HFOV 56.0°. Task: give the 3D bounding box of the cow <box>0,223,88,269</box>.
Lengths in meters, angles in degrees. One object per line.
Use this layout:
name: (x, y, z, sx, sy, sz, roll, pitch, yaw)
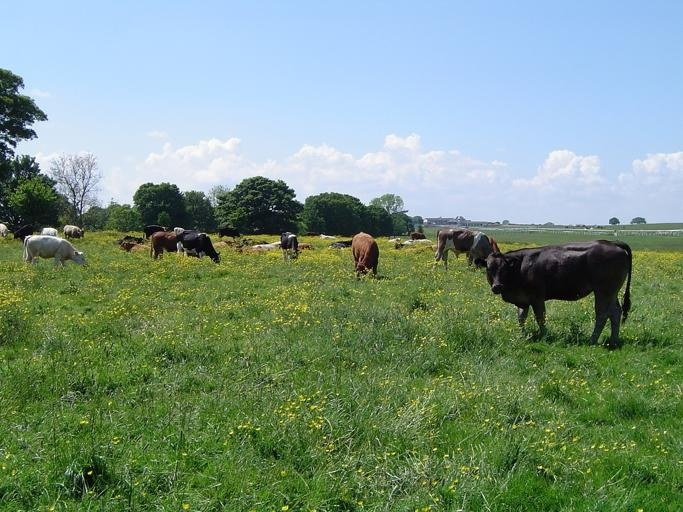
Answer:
cow: (-10.354, -0.192, 22.904, 1.891, 1.078, 0.817, -4, 10, -26)
